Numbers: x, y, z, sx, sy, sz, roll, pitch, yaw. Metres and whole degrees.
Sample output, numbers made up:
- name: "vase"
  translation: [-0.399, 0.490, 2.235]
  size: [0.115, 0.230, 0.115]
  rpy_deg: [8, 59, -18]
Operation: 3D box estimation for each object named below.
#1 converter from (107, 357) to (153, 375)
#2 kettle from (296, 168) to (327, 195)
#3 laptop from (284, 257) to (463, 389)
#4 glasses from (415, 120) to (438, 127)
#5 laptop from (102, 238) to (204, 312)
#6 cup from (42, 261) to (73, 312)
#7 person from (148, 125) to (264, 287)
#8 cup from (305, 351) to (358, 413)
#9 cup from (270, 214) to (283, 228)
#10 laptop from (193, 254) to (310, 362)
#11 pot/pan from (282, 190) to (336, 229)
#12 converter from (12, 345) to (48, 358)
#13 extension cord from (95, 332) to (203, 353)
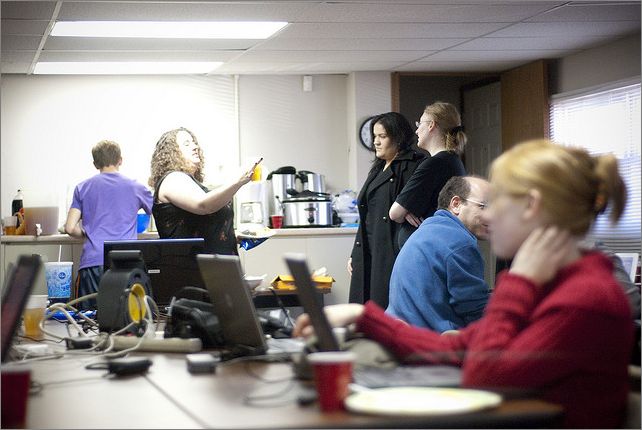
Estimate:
- name: "converter"
  translation: [-0.596, 0.455, 1.578]
  size: [0.087, 0.023, 0.061]
  rpy_deg: [2, -3, -23]
- name: "kettle"
  translation: [-0.085, -0.361, 5.574]
  size: [0.363, 0.300, 0.204]
  rpy_deg: [-2, 1, 3]
- name: "laptop"
  translation: [0.113, 0.268, 1.471]
  size: [0.329, 0.345, 0.391]
  rpy_deg: [-10, 6, -17]
- name: "glasses"
  translation: [0.750, -0.649, 3.600]
  size: [0.163, 0.042, 0.147]
  rpy_deg: [0, 0, -7]
- name: "laptop"
  translation: [-0.759, 0.232, 2.353]
  size: [0.574, 0.333, 0.289]
  rpy_deg: [0, 0, -4]
- name: "cup"
  translation: [-1.316, 0.342, 2.558]
  size: [0.110, 0.228, 0.259]
  rpy_deg: [-6, 4, -29]
- name: "person"
  translation: [-0.833, -0.163, 3.417]
  size: [0.835, 1.127, 0.724]
  rpy_deg: [-10, 10, -11]
- name: "cup"
  translation: [0.026, 0.377, 1.203]
  size: [0.150, 0.132, 0.134]
  rpy_deg: [-1, -7, 1]
- name: "cup"
  translation: [-0.427, 0.062, 5.050]
  size: [0.126, 0.104, 0.115]
  rpy_deg: [-1, -3, 0]
- name: "laptop"
  translation: [-0.234, 0.295, 1.846]
  size: [0.372, 0.342, 0.366]
  rpy_deg: [-2, -3, -37]
- name: "pot/pan"
  translation: [-0.117, -0.046, 4.990]
  size: [0.419, 0.283, 0.413]
  rpy_deg: [-1, -5, -9]
- name: "converter"
  translation: [-1.023, 0.474, 1.798]
  size: [0.068, 0.014, 0.063]
  rpy_deg: [2, -1, -12]
- name: "extension cord"
  translation: [-0.612, 0.457, 1.833]
  size: [0.272, 0.040, 0.057]
  rpy_deg: [4, -27, 2]
